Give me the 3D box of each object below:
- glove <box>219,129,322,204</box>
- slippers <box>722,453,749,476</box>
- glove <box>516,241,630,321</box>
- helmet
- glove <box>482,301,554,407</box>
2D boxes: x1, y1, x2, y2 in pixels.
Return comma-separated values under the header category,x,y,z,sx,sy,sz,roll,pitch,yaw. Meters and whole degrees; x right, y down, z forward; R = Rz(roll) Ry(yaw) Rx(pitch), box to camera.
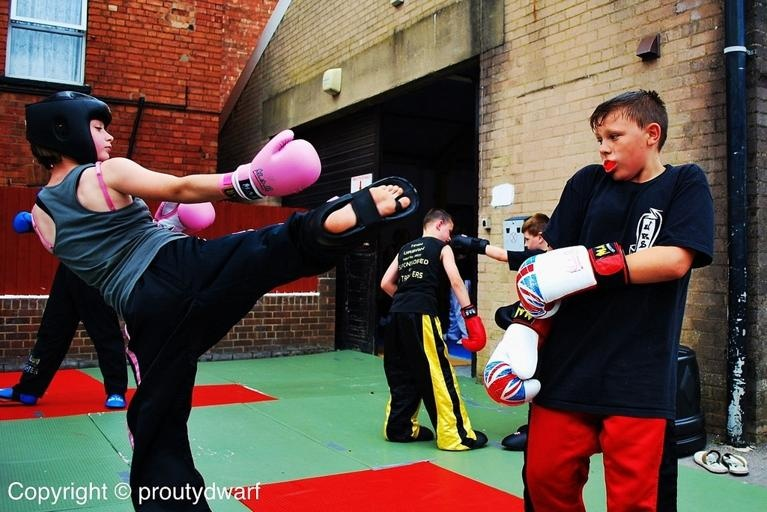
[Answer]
category,x,y,z,sx,sy,sz,roll,pitch,yaw
glove,-0.629,-0.509,3.441,0.625,0.388,0.287,-16,-52,19
slippers,3.023,1.793,5.201,0.167,0.143,0.215,1,2,-14
glove,1.070,0.088,3.407,0.636,0.387,0.250,-22,-51,37
helmet,-2.043,-0.799,4.046,0.532,0.467,0.401,-7,-10,2
glove,0.829,0.584,3.642,0.370,0.596,0.256,6,-8,34
